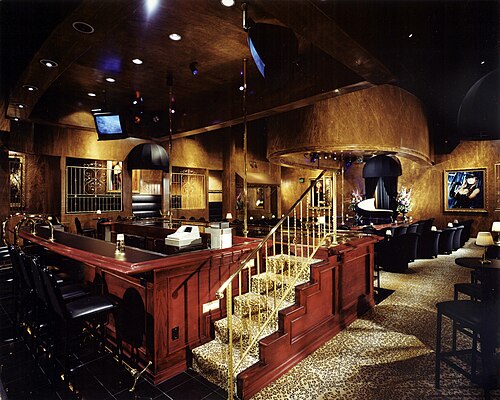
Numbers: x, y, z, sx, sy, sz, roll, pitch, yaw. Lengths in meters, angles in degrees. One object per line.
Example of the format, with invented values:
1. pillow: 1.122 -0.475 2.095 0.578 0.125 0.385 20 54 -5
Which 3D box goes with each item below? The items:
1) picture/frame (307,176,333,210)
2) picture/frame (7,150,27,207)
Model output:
1. picture/frame: 2.194 -0.231 11.922 0.114 1.567 1.285 4 -7 -28
2. picture/frame: -6.577 -0.477 10.806 0.395 1.874 0.375 -2 1 -24
